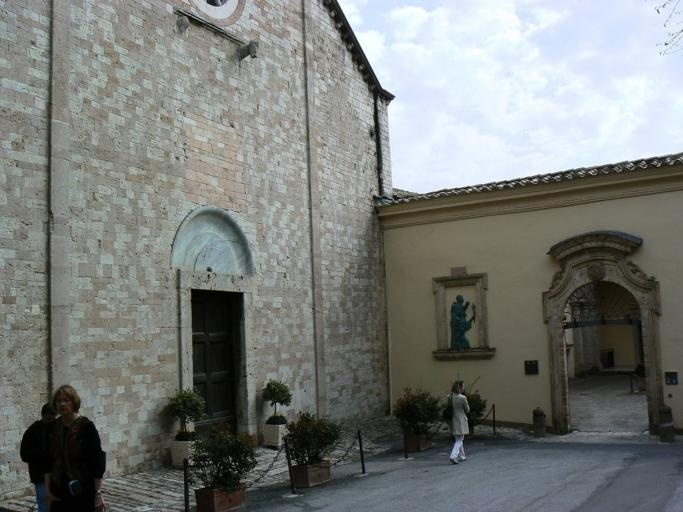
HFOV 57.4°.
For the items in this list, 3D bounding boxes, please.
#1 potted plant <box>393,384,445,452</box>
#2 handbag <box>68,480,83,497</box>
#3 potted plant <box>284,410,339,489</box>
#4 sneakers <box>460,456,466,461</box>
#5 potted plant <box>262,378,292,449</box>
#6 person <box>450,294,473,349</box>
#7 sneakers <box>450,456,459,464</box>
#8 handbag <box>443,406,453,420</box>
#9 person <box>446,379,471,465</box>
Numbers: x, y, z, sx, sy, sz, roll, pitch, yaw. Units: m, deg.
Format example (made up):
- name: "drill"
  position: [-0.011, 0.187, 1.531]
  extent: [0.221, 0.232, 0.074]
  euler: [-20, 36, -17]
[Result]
- name: "potted plant"
  position: [1.552, 3.530, 13.225]
  extent: [1.229, 1.186, 0.578]
  euler: [7, -13, -39]
- name: "handbag"
  position: [-2.940, 2.570, 6.896]
  extent: [0.140, 0.172, 0.056]
  euler: [2, -11, -22]
- name: "potted plant"
  position: [-0.501, 3.398, 11.190]
  extent: [0.954, 1.441, 1.199]
  euler: [-2, -5, 42]
- name: "sneakers"
  position: [2.317, 3.898, 11.982]
  extent: [0.060, 0.082, 0.185]
  euler: [-17, -22, 20]
- name: "potted plant"
  position: [-1.441, 3.436, 13.664]
  extent: [0.605, 1.460, 0.688]
  euler: [2, -11, -19]
- name: "person"
  position: [3.183, 1.782, 16.639]
  extent: [0.693, 1.434, 0.206]
  euler: [-5, -10, 16]
- name: "sneakers"
  position: [2.115, 3.851, 11.760]
  extent: [0.162, 0.128, 0.247]
  euler: [-4, -11, 10]
- name: "handbag"
  position: [2.059, 3.078, 12.247]
  extent: [0.201, 0.281, 0.208]
  euler: [1, -11, -15]
- name: "person"
  position: [2.274, 3.236, 12.264]
  extent: [0.406, 1.508, 1.016]
  euler: [-3, -10, 9]
